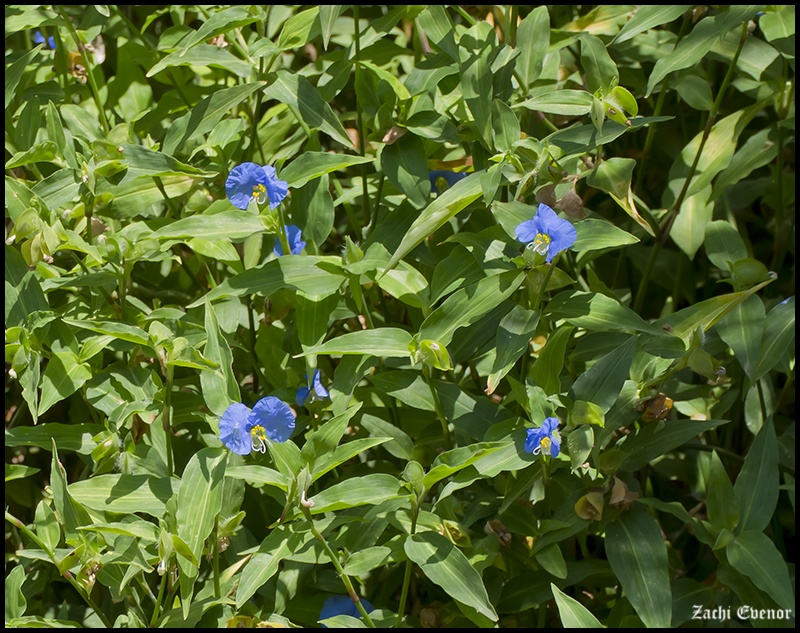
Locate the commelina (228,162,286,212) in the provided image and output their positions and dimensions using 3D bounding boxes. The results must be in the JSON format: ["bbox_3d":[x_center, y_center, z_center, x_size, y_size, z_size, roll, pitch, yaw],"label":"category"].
[{"bbox_3d":[-0.312,-0.301,1.643,0.099,0.112,0.050,-14,73,39],"label":"commelina"}]

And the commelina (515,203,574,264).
[{"bbox_3d":[0.285,-0.164,1.502,0.100,0.110,0.045,19,32,26],"label":"commelina"}]

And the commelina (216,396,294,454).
[{"bbox_3d":[-0.293,0.219,1.552,0.129,0.115,0.054,-23,1,-31],"label":"commelina"}]
